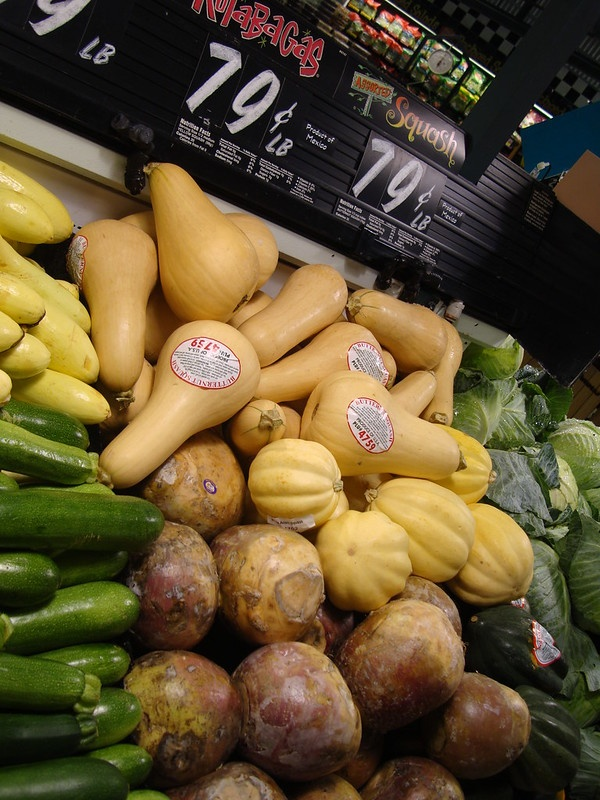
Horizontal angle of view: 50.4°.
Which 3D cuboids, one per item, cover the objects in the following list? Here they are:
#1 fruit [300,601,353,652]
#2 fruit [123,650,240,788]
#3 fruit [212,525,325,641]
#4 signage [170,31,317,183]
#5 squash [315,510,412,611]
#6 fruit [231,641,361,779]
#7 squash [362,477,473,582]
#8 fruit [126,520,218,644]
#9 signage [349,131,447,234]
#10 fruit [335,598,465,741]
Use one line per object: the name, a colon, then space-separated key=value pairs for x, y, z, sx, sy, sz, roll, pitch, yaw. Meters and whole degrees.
fruit: x=0.063 y=0.467 z=1.305 sx=0.079 sy=0.106 sz=0.060 roll=50 pitch=4 yaw=-12
fruit: x=-0.186 y=0.457 z=1.026 sx=0.152 sy=0.149 sz=0.202 roll=-15 pitch=28 yaw=-43
fruit: x=-0.069 y=0.316 z=1.223 sx=0.230 sy=0.160 sz=0.170 roll=22 pitch=2 yaw=32
signage: x=-0.155 y=-0.772 z=1.671 sx=0.392 sy=0.267 sz=0.005 roll=30 pitch=29 yaw=27
squash: x=0.128 y=0.316 z=1.332 sx=0.119 sy=0.194 sz=0.189 roll=-21 pitch=2 yaw=-15
fruit: x=-0.014 y=0.531 z=1.162 sx=0.238 sy=0.303 sz=0.220 roll=-13 pitch=76 yaw=-1
squash: x=0.269 y=0.287 z=1.521 sx=0.288 sy=0.224 sz=0.223 roll=16 pitch=64 yaw=2
fruit: x=-0.227 y=0.325 z=1.133 sx=0.182 sy=0.184 sz=0.233 roll=-3 pitch=42 yaw=-12
signage: x=0.313 y=-0.685 z=2.006 sx=0.274 sy=0.154 sz=0.002 roll=21 pitch=16 yaw=-15
fruit: x=0.212 y=0.481 z=1.267 sx=0.258 sy=0.146 sz=0.205 roll=-28 pitch=14 yaw=-7
